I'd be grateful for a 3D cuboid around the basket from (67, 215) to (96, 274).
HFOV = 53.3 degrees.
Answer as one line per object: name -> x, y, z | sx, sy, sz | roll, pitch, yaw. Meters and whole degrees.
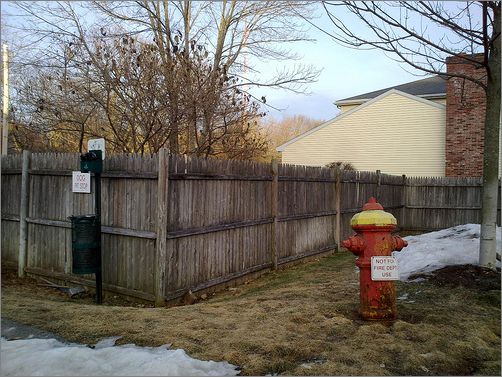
basket -> -2.994, 0.997, 8.928 | 0.493, 1.047, 0.297 | -1, 10, -10
